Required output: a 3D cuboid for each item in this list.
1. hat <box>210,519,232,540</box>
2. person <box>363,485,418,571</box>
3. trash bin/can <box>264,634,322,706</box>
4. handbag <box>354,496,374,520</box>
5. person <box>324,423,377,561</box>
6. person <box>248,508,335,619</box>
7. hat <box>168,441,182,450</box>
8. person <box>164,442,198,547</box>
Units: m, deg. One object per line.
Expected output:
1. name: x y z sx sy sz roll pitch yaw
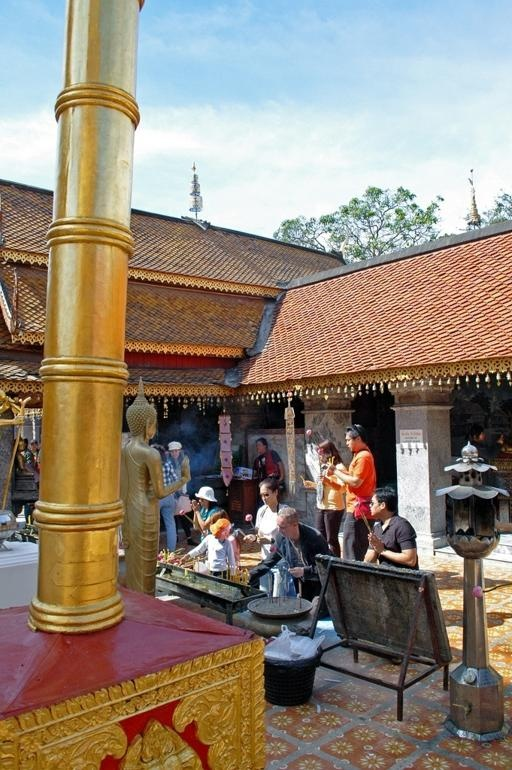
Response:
1. hat: -0.306 1.254 6.347 0.156 0.182 0.212 5 15 27
2. person: 0.910 1.001 4.866 0.339 0.569 0.785 -2 -3 8
3. trash bin/can: 0.222 1.630 4.085 0.353 0.326 0.320 -3 -9 -46
4. handbag: 0.930 1.085 6.231 0.097 0.237 0.250 10 6 42
5. person: 0.846 1.121 6.451 0.519 1.464 0.524 2 -4 14
6. person: 0.191 1.259 5.325 0.616 0.706 0.536 -2 -3 20
7. hat: -1.036 0.789 9.169 0.216 0.110 0.268 -2 -9 2
8. person: -0.863 1.450 9.147 0.471 1.212 0.429 -6 1 -34
